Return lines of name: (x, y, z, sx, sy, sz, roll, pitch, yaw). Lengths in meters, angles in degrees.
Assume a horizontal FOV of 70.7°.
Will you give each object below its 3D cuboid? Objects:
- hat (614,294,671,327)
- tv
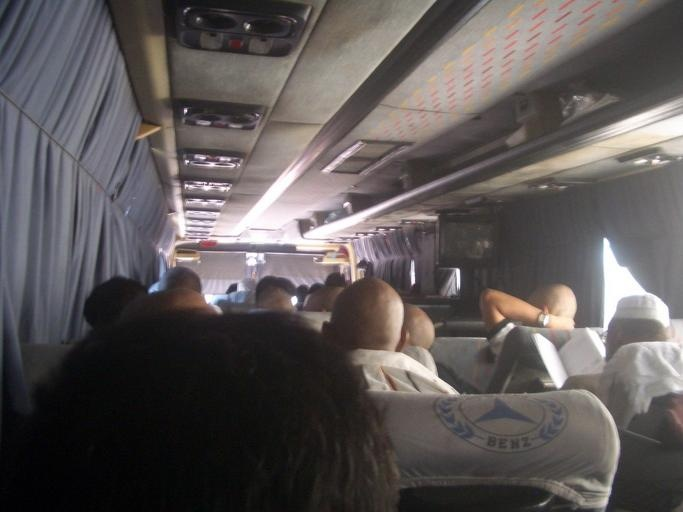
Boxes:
hat: (2.098, 0.334, 3.358, 0.379, 0.216, 0.335, -8, -8, 34)
tv: (1.828, -0.286, 7.366, 1.102, 1.048, 0.760, 3, 7, -11)
